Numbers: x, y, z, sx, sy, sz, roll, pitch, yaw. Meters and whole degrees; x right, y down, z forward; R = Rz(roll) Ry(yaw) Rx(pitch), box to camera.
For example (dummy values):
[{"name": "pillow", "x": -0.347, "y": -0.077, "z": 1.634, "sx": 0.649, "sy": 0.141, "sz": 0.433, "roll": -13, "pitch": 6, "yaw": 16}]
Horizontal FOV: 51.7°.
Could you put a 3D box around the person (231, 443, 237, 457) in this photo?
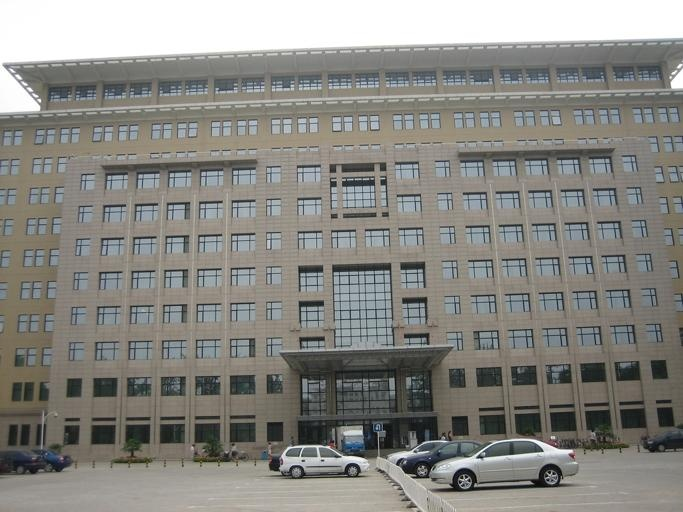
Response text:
[{"name": "person", "x": -11.057, "y": 19.914, "z": 72.724, "sx": 0.622, "sy": 1.327, "sz": 1.658, "roll": 1, "pitch": -19, "yaw": -9}]

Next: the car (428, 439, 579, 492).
[{"name": "car", "x": 9.808, "y": 12.807, "z": 43.693, "sx": 8.702, "sy": 2.564, "sz": 3.396, "roll": 1, "pitch": -20, "yaw": 1}]

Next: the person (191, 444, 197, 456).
[{"name": "person", "x": -15.350, "y": 20.038, "z": 73.079, "sx": 0.697, "sy": 1.248, "sz": 1.796, "roll": 2, "pitch": -19, "yaw": -12}]

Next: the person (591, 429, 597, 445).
[{"name": "person", "x": 25.785, "y": 18.518, "z": 72.237, "sx": 0.316, "sy": 1.010, "sz": 0.746, "roll": -4, "pitch": -7, "yaw": 34}]

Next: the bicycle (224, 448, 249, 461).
[{"name": "bicycle", "x": -10.842, "y": 20.338, "z": 72.189, "sx": 2.467, "sy": 1.250, "sz": 1.124, "roll": 7, "pitch": -20, "yaw": -18}]

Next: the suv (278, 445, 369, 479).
[{"name": "suv", "x": -1.349, "y": 15.534, "z": 53.170, "sx": 6.549, "sy": 1.873, "sz": 2.632, "roll": -2, "pitch": -13, "yaw": 2}]
